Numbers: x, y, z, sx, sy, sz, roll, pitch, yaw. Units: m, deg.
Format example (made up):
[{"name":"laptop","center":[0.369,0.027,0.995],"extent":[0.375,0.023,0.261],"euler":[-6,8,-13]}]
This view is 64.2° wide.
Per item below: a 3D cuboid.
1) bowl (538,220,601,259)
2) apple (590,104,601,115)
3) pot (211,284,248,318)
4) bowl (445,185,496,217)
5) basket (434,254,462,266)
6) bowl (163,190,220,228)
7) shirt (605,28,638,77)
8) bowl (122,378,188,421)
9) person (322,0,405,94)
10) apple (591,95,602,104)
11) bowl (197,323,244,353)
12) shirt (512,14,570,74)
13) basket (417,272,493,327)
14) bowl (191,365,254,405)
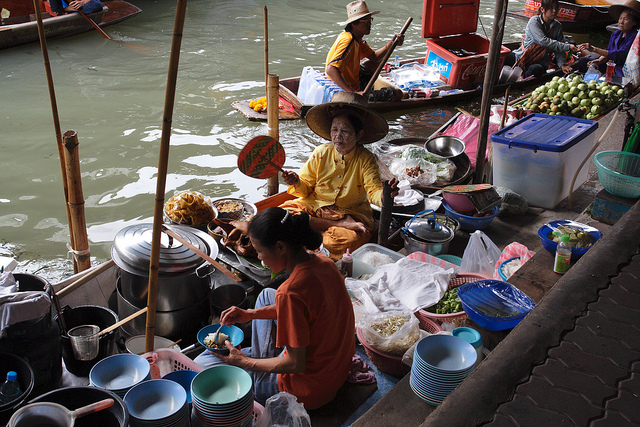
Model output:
[{"name":"bowl","center":[2.480,0.248,5.146],"extent":[0.502,0.198,0.503],"euler":[-17,16,5]},{"name":"apple","center":[4.366,-1.659,8.136],"extent":[0.124,0.171,0.123],"euler":[-4,41,-5]},{"name":"pot","center":[-0.881,0.827,4.968],"extent":[0.288,0.232,0.344],"euler":[2,39,1]},{"name":"bowl","center":[1.713,-0.141,5.872],"extent":[0.414,0.247,0.418],"euler":[3,17,-1]},{"name":"basket","center":[1.366,0.489,5.411],"extent":[0.149,0.063,0.152],"euler":[4,12,34]},{"name":"bowl","center":[-1.451,-0.096,5.664],"extent":[0.569,0.189,0.563],"euler":[7,32,-5]},{"name":"shirt","center":[5.891,-3.252,10.113],"extent":[0.392,0.820,0.875],"euler":[14,29,25]},{"name":"bowl","center":[-1.089,1.232,3.373],"extent":[0.380,0.117,0.306],"euler":[13,29,22]},{"name":"person","center":[0.574,-2.909,8.871],"extent":[0.614,1.546,1.667],"euler":[9,28,17]},{"name":"apple","center":[4.400,-1.828,8.174],"extent":[0.133,0.133,0.133],"euler":[3,-6,16]},{"name":"bowl","center":[-0.839,1.038,4.257],"extent":[0.293,0.113,0.287],"euler":[5,28,-3]},{"name":"shirt","center":[4.756,-3.615,10.882],"extent":[1.035,1.214,0.744],"euler":[3,27,4]},{"name":"basket","center":[1.237,0.784,4.699],"extent":[0.362,0.243,0.741],"euler":[21,33,35]},{"name":"bowl","center":[-0.679,1.206,3.517],"extent":[0.407,0.125,0.309],"euler":[-5,27,-11]}]
